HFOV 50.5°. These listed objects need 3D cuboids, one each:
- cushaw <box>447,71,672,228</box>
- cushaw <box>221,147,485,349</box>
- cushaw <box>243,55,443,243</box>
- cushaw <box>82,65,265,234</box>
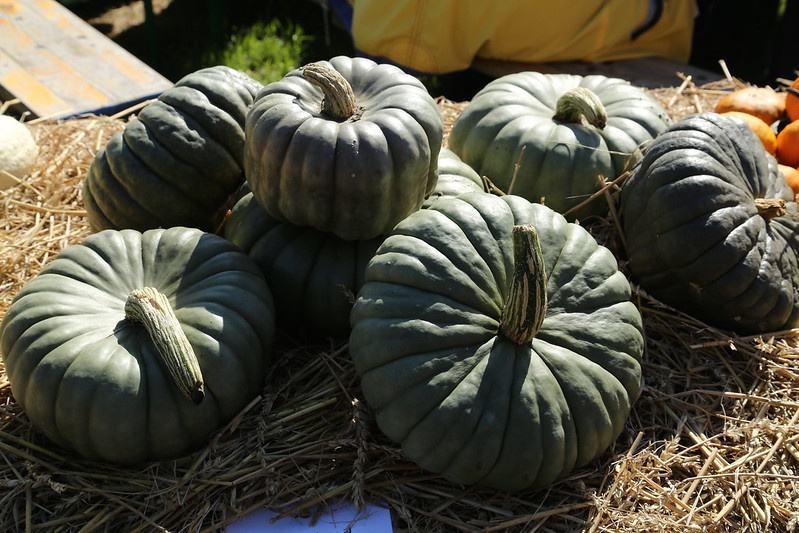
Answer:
[{"bbox_3d":[1.065,-1.019,6.389,1.308,0.798,1.192,-8,23,-28],"label":"cushaw"},{"bbox_3d":[-0.596,0.012,5.646,1.292,0.662,1.187,-3,32,-17],"label":"cushaw"},{"bbox_3d":[-0.363,-0.775,5.568,1.317,0.956,0.921,-12,48,-9],"label":"cushaw"},{"bbox_3d":[-1.522,-0.769,6.023,0.683,1.096,1.204,30,90,23],"label":"cushaw"}]
